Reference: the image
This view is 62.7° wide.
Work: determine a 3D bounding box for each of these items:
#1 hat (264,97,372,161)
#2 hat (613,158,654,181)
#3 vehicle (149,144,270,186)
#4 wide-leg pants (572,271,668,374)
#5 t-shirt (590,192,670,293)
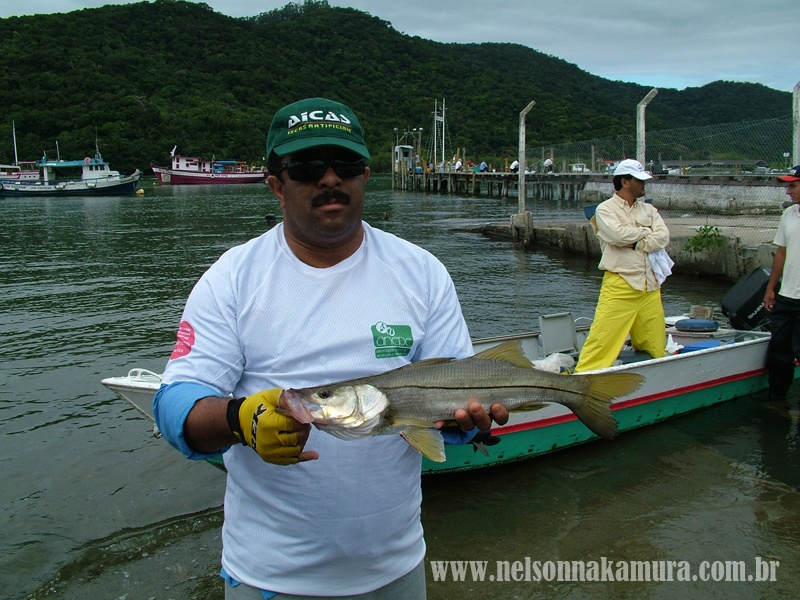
[{"bbox_3d":[-0.401,-0.820,3.236,0.506,0.324,0.656,-5,6,-24],"label":"hat"},{"bbox_3d":[2.676,-1.491,7.518,0.378,0.207,0.257,4,20,28],"label":"hat"},{"bbox_3d":[-27.519,-19.177,97.839,17.244,4.537,3.940,-5,11,-32],"label":"vehicle"},{"bbox_3d":[2.697,0.299,7.951,1.517,1.413,0.523,-5,5,-26],"label":"wide-leg pants"},{"bbox_3d":[2.653,-0.671,7.544,0.811,1.008,0.494,4,2,14],"label":"t-shirt"}]
